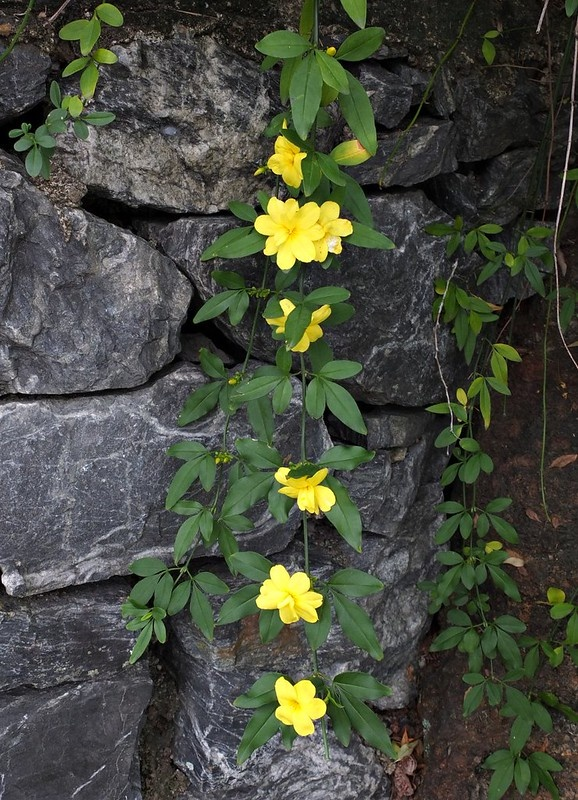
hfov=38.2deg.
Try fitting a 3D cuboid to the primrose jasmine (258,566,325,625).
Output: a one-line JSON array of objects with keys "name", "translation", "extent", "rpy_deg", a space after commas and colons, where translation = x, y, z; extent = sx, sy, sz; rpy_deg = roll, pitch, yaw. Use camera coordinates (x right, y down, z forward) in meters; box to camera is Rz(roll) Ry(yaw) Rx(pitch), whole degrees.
[{"name": "primrose jasmine", "translation": [0.005, 0.351, 1.540], "extent": [0.118, 0.043, 0.118], "rpy_deg": [23, 10, -11]}]

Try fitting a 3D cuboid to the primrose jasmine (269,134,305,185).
[{"name": "primrose jasmine", "translation": [-0.007, -0.467, 1.637], "extent": [0.073, 0.092, 0.124], "rpy_deg": [3, 10, -3]}]

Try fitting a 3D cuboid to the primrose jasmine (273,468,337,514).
[{"name": "primrose jasmine", "translation": [0.030, 0.171, 1.609], "extent": [0.112, 0.081, 0.047], "rpy_deg": [14, 24, 3]}]

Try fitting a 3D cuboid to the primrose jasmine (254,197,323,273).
[{"name": "primrose jasmine", "translation": [-0.013, -0.314, 1.583], "extent": [0.150, 0.128, 0.088], "rpy_deg": [11, 13, 33]}]
